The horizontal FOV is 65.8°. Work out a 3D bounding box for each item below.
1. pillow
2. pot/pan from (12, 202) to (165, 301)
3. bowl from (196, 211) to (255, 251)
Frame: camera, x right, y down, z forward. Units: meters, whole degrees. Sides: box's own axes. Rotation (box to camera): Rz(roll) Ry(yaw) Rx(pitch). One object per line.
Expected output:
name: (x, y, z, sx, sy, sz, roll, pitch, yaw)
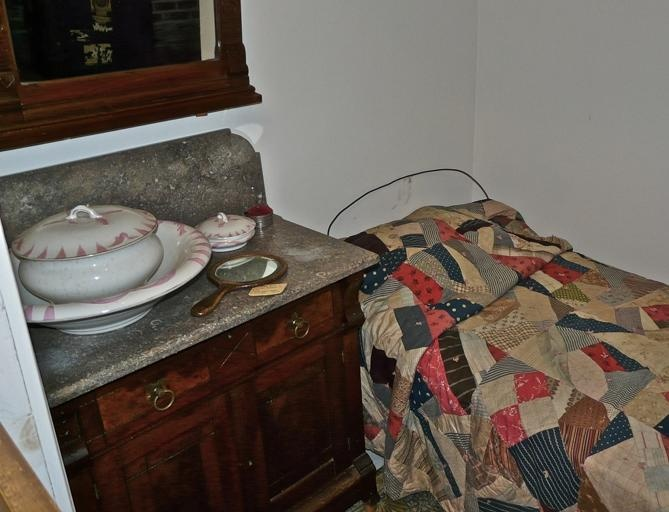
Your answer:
pillow: (0.435, -0.031, 1.915, 0.492, 0.097, 0.360, -21, 36, -31)
pot/pan: (-0.565, -0.001, 1.266, 0.295, 0.163, 0.271, -3, 18, 3)
bowl: (-0.332, -0.077, 1.553, 0.197, 0.081, 0.147, -8, 26, -3)
